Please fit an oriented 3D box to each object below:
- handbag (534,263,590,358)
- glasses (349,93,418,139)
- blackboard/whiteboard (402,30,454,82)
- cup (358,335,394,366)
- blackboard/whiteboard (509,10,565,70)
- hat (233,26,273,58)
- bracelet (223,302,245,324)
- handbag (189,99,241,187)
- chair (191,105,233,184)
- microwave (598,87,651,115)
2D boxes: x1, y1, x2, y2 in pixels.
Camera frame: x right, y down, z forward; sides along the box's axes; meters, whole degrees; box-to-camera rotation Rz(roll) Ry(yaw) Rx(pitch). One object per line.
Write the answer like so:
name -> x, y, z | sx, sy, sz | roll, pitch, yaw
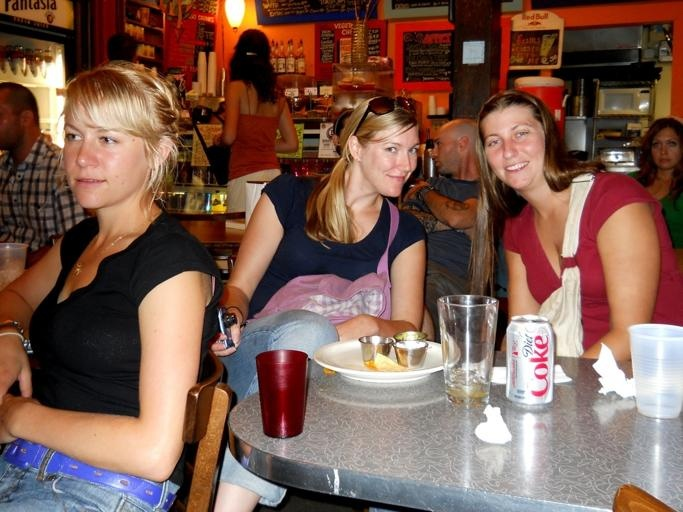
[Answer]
handbag -> 0.798, 0.191, 1.903 | 0.130, 0.336, 0.149 | -14, 14, -43
glasses -> 0.190, -0.603, 2.243 | 0.235, 0.064, 0.226 | -12, -5, -21
blackboard/whiteboard -> 1.273, -3.064, 8.133 | 0.721, 0.755, 0.231 | 5, 17, 26
cup -> 0.080, 0.248, 1.417 | 0.074, 0.052, 0.073 | 2, -1, 0
blackboard/whiteboard -> 2.158, -2.434, 5.997 | 0.534, 0.576, 0.473 | 2, 16, 15
hat -> -0.749, -1.811, 4.485 | 0.330, 0.293, 0.242 | -3, 24, -15
bracelet -> -0.363, 0.193, 1.809 | 0.094, 0.033, 0.070 | 16, 7, -15
handbag -> -1.231, -1.220, 5.176 | 0.308, 0.479, 0.513 | -12, 1, -23
chair -> -1.221, -0.913, 4.954 | 0.239, 0.193, 0.941 | -10, -17, 5
microwave -> 4.067, -2.274, 7.776 | 0.702, 0.414, 0.449 | 1, -2, 6
